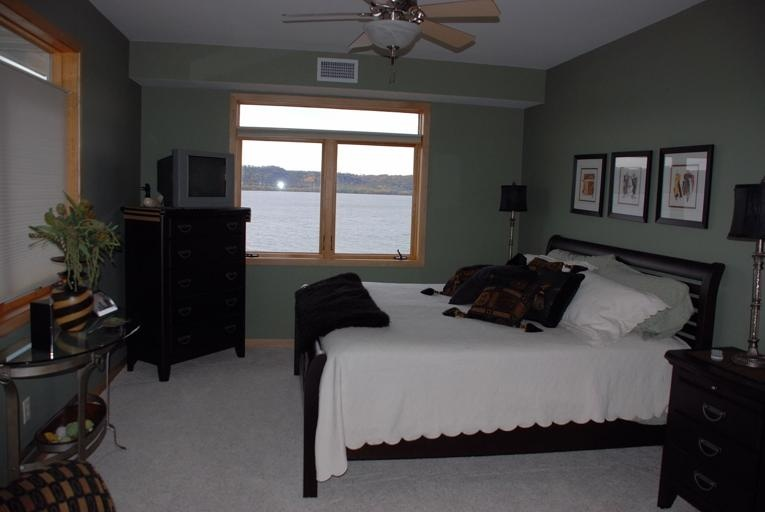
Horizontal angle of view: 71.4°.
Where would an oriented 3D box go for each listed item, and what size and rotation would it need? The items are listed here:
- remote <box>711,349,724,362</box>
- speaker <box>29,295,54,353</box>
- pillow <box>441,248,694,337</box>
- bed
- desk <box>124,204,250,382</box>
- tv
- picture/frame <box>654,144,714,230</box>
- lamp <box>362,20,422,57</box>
[{"bbox_3d":[2.275,0.672,3.616,0.081,0.078,0.080,0,-1,0],"label":"remote"},{"bbox_3d":[-2.187,0.448,3.416,0.131,0.255,0.345,-5,16,-33],"label":"speaker"},{"bbox_3d":[1.597,0.316,4.483,1.020,0.312,1.013,-4,6,-12],"label":"pillow"},{"bbox_3d":[1.121,0.634,4.369,2.514,1.194,1.862,-3,11,-8],"label":"bed"},{"bbox_3d":[-1.915,0.332,5.276,1.156,1.614,0.628,-2,15,-25],"label":"desk"},{"bbox_3d":[-1.833,-0.745,5.368,0.655,0.564,0.610,7,8,34],"label":"tv"},{"bbox_3d":[2.450,-0.573,4.349,0.097,0.655,0.533,-1,14,-20],"label":"picture/frame"},{"bbox_3d":[0.048,-1.398,3.387,0.345,0.156,0.204,3,13,-4],"label":"lamp"}]
